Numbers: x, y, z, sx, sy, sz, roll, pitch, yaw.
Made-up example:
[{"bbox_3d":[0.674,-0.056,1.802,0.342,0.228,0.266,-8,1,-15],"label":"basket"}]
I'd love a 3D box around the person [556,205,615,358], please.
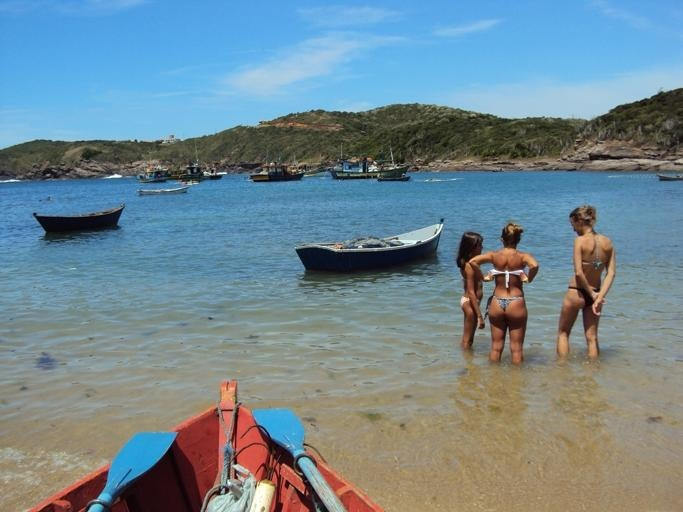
[{"bbox_3d":[4.050,0.417,9.173,0.807,2.600,1.474,3,14,22],"label":"person"}]

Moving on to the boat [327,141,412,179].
[{"bbox_3d":[5.134,-15.053,96.840,5.319,3.884,14.612,-10,13,-37],"label":"boat"}]

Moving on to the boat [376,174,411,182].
[{"bbox_3d":[8.785,-12.859,92.752,6.463,1.103,1.604,-1,24,2],"label":"boat"}]

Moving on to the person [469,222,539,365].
[{"bbox_3d":[2.549,0.630,8.620,0.892,2.342,0.628,1,14,14],"label":"person"}]

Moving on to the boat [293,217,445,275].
[{"bbox_3d":[1.693,-0.219,17.110,5.927,1.107,1.779,-9,12,-33],"label":"boat"}]

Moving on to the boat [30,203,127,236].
[{"bbox_3d":[-13.056,-1.737,27.969,1.227,1.080,4.250,3,11,23],"label":"boat"}]

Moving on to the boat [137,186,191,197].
[{"bbox_3d":[-21.777,-7.831,67.283,5.143,0.837,3.593,2,10,18],"label":"boat"}]
